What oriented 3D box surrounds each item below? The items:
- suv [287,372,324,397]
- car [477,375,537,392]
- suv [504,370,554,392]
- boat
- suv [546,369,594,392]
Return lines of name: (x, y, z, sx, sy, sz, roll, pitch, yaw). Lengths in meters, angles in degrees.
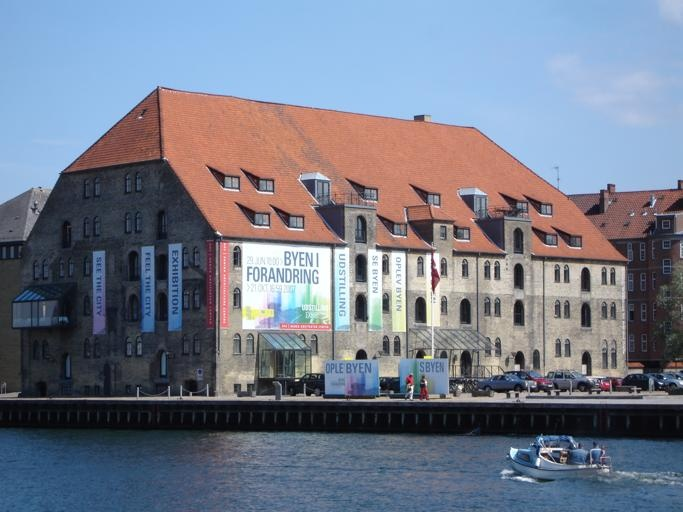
suv: (-2.962, 11.402, 162.178, 1.560, 2.238, 5.186, 4, -11, -28)
car: (14.791, 11.295, 162.996, 4.592, 1.354, 1.962, -5, -5, 28)
suv: (17.195, 11.200, 164.829, 3.661, 1.320, 1.693, -4, -5, 41)
boat: (15.434, 14.375, 130.484, 6.436, 2.263, 3.113, 0, -2, 34)
suv: (20.636, 11.136, 164.783, 3.328, 1.357, 1.703, -4, -5, 27)
